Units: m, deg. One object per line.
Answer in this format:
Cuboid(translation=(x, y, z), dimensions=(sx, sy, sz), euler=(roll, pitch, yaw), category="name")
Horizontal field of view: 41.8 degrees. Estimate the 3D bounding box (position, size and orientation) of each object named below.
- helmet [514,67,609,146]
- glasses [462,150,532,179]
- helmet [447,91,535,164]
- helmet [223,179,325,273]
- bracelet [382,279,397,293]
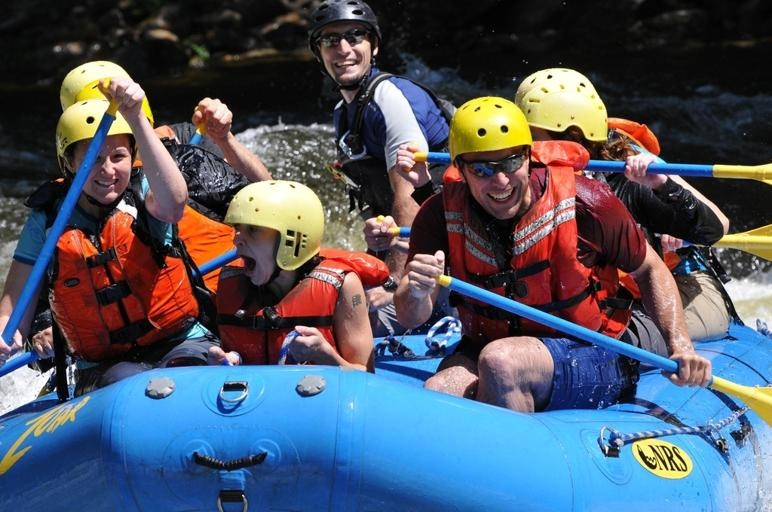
Cuboid(translation=(1.269, -1.038, 7.217), dimensions=(0.600, 0.478, 0.478), euler=(33, -6, 9), category="helmet")
Cuboid(translation=(0.646, -0.539, 6.058), dimensions=(0.332, 0.131, 0.079), euler=(-1, 21, 7), category="glasses")
Cuboid(translation=(0.616, -0.804, 6.087), dimensions=(0.334, 0.347, 0.447), euler=(-8, -19, -6), category="helmet")
Cuboid(translation=(-0.638, -0.192, 6.188), dimensions=(0.611, 0.475, 0.440), euler=(7, -3, -29), category="helmet")
Cuboid(translation=(0.025, 0.215, 7.074), dimensions=(0.083, 0.057, 0.088), euler=(42, -6, -21), category="bracelet")
